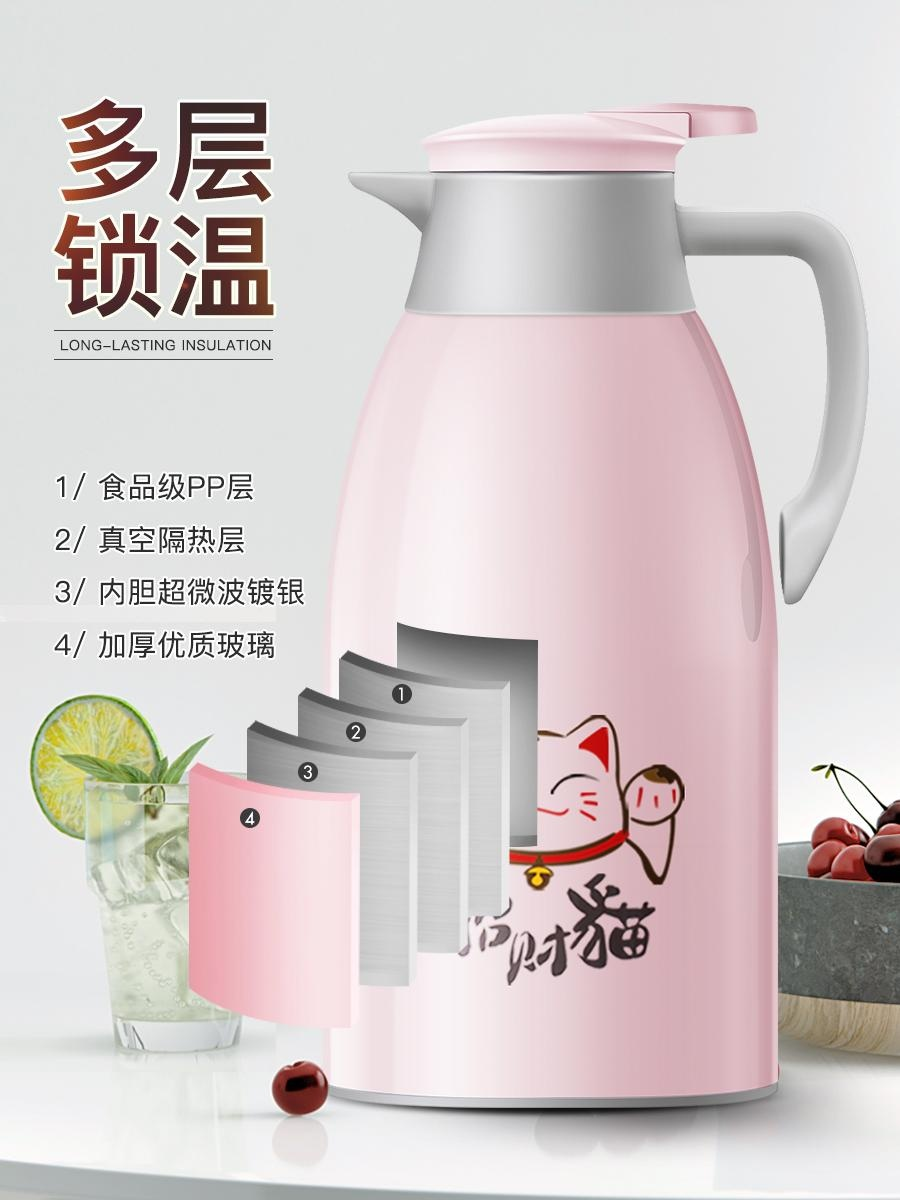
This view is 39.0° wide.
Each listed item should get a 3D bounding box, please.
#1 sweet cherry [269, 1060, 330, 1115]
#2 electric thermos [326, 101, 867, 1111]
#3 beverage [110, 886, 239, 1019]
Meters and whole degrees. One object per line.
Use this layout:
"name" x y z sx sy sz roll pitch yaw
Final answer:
"sweet cherry" -0.052 0.169 0.436 0.019 0.017 0.019 1 -10 -7
"electric thermos" 0.037 0.008 0.431 0.152 0.323 0.115 1 -11 -6
"beverage" -0.131 0.162 0.573 0.057 0.057 0.028 -3 -11 15
